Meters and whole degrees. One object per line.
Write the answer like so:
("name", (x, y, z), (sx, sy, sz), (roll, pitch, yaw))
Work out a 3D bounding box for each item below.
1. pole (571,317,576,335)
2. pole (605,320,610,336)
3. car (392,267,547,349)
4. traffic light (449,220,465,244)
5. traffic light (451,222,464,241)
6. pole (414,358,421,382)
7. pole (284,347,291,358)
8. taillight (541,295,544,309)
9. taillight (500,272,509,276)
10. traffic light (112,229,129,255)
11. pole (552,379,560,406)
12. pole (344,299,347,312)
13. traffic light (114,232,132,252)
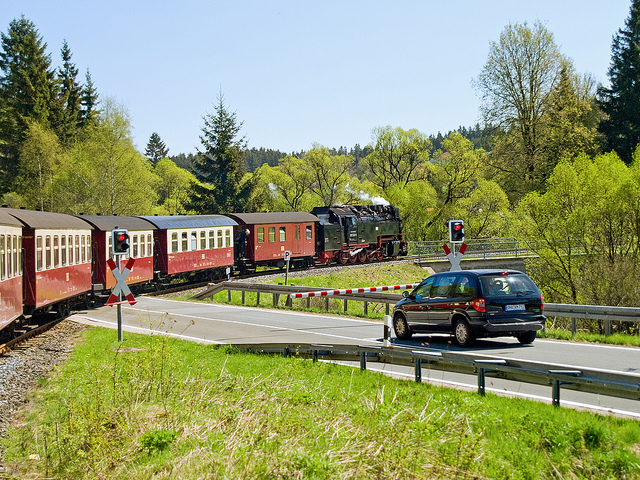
("pole", (7.325, 2.454, 18.812), (0.087, 0.494, 0.513), (0, 0, 27))
("pole", (8.009, 2.437, 18.140), (0.113, 0.455, 0.579), (0, 0, 23))
("car", (3.866, 1.758, 17.196), (3.632, 2.049, 1.384), (0, 0, 42))
("traffic light", (4.332, -0.262, 20.738), (0.421, 0.752, 0.703), (0, 0, 10))
("traffic light", (4.338, -0.269, 20.580), (0.369, 0.572, 0.312), (0, 0, 5))
("pole", (1.917, 2.533, 12.806), (0.123, 0.459, 0.234), (0, 0, 8))
("pole", (-0.827, 2.690, 15.755), (0.167, 0.356, 0.184), (4, -9, -21))
("taillight", (5.718, 1.632, 16.747), (0.018, 0.347, 0.479), (0, 0, 23))
("taillight", (4.663, 0.857, 16.452), (0.272, 0.081, 0.068), (0, 0, -34))
("traffic light", (-5.664, 0.050, 18.389), (0.414, 0.587, 0.893), (0, 0, -21))
("pole", (3.892, 2.487, 10.728), (0.107, 0.444, 0.140), (0, 0, 24))
("pole", (0.997, 2.586, 25.564), (0.113, 0.446, 0.287), (0, 0, -2))
("traffic light", (-5.498, 0.055, 18.370), (0.455, 0.683, 0.450), (1, 0, 38))
